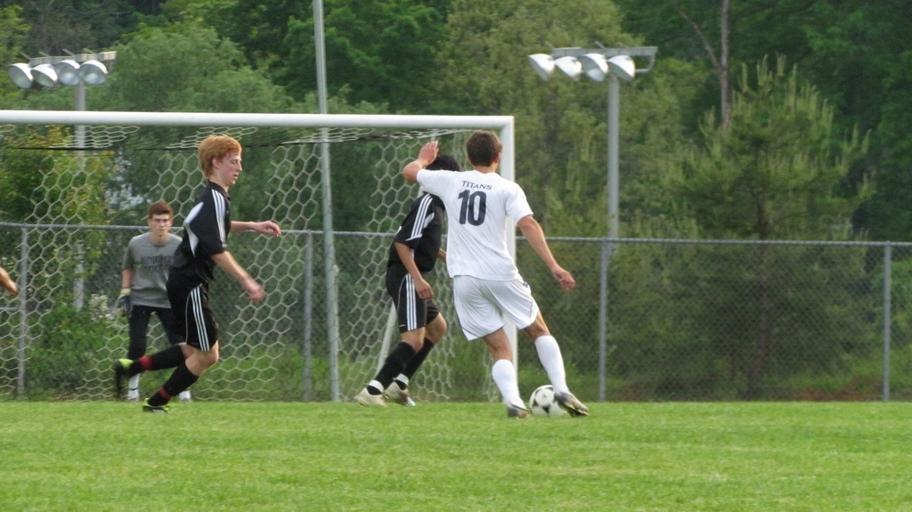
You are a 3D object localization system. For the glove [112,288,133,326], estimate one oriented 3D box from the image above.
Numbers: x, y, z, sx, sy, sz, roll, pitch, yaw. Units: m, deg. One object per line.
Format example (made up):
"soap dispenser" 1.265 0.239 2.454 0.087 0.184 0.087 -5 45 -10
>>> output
"glove" -6.619 0.956 33.443 0.466 0.499 0.180 3 -1 -6

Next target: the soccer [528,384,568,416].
"soccer" 1.764 2.778 32.201 0.717 0.593 0.594 2 -32 8

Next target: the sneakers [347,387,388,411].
"sneakers" -1.675 2.837 32.614 0.717 0.273 0.287 22 2 -18
